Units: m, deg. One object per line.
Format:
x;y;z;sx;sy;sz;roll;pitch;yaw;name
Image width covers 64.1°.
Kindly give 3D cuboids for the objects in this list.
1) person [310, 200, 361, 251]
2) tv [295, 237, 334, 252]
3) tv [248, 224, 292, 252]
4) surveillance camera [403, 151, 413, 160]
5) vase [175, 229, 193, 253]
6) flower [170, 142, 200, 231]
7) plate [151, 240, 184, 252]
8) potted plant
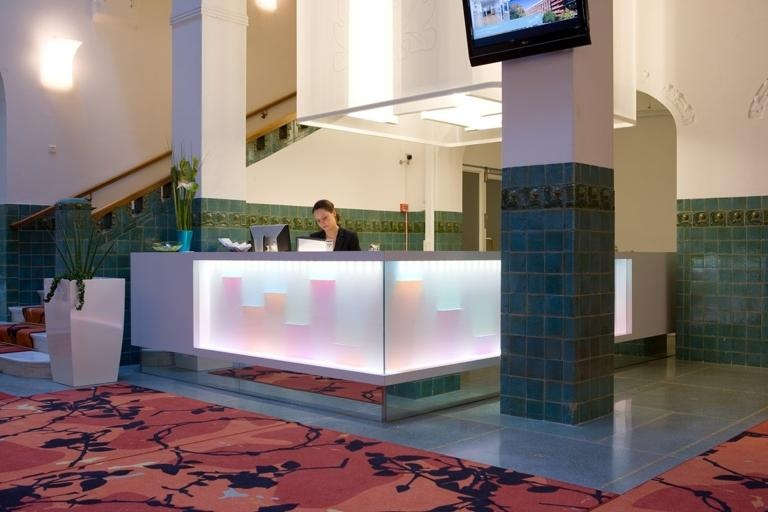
-0.610;-0.389;7.777;0.518;0.624;1.089;-1;5;-11;person
-0.779;-0.134;7.051;0.140;0.143;0.467;5;7;45;tv
-1.340;-0.208;7.293;0.432;0.311;0.481;-1;5;-13;tv
0.475;-1.951;12.008;0.113;0.136;0.123;2;8;18;surveillance camera
-2.695;-0.203;8.348;0.273;0.298;0.264;4;-5;-41;vase
-2.746;-0.926;8.525;0.641;1.137;0.347;5;7;43;flower
-2.867;-0.116;8.204;0.323;0.110;0.243;-1;5;-8;plate
-3.721;0.577;7.578;0.910;1.930;0.745;5;8;44;potted plant
